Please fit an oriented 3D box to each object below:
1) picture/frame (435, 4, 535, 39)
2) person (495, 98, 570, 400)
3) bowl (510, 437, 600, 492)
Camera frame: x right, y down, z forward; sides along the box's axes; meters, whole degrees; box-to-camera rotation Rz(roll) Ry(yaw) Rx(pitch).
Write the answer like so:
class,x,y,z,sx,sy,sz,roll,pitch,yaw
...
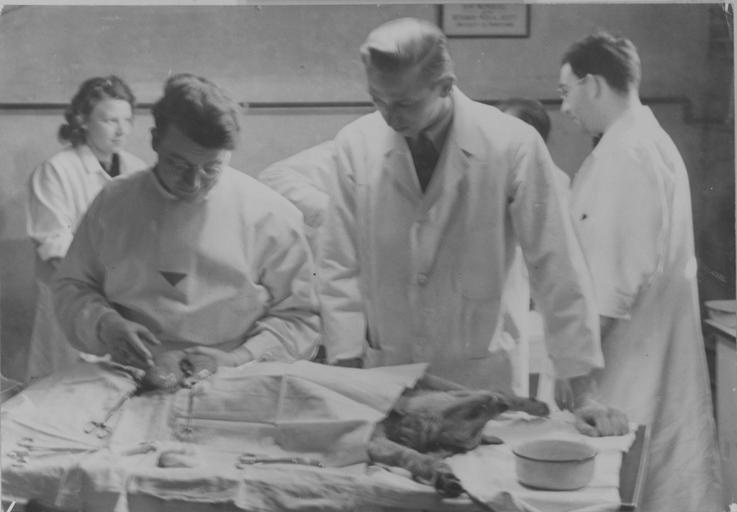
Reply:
class,x,y,z,sx,sy,sz,roll,pitch,yaw
picture/frame,0.615,-1.216,8.990,0.478,0.176,0.030,-3,4,2
person,0.832,-0.051,9.053,0.287,1.182,0.780,4,0,28
bowl,0.996,1.040,9.038,0.317,0.113,0.283,-5,2,-35
